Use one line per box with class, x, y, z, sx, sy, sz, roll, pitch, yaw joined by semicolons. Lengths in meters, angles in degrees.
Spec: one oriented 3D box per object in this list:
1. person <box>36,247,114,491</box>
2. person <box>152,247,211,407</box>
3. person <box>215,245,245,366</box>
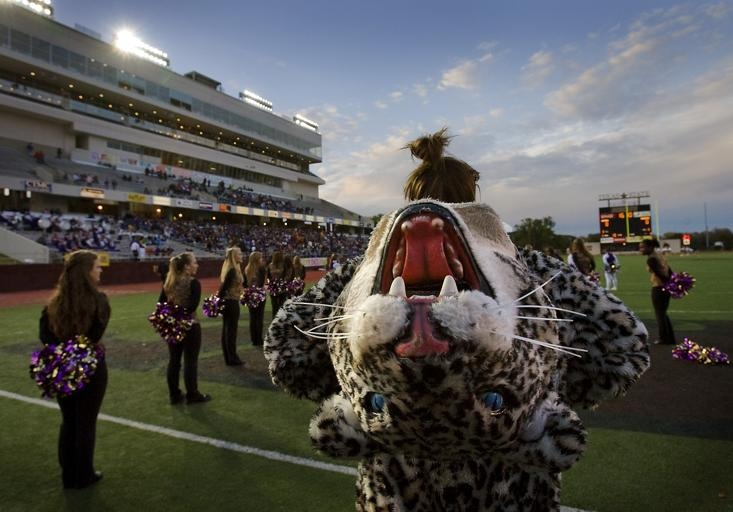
person;-2.900;1.094;4.573;0.605;2.223;0.708;-2;9;2
person;-2.513;0.958;6.170;0.622;1.989;0.729;-5;10;-18
person;-2.326;0.842;7.936;0.449;2.041;1.202;-5;10;-16
